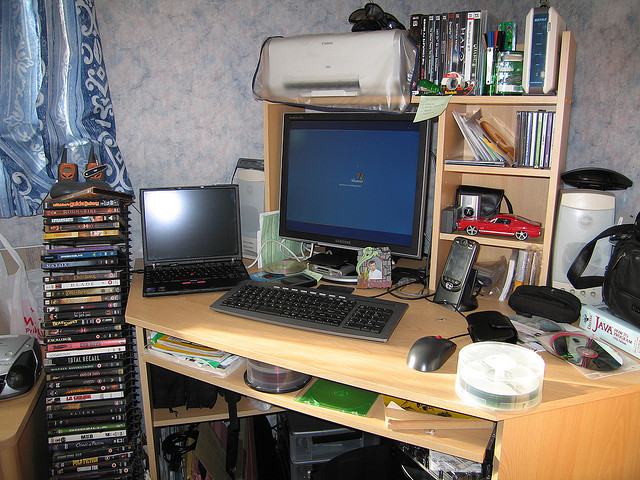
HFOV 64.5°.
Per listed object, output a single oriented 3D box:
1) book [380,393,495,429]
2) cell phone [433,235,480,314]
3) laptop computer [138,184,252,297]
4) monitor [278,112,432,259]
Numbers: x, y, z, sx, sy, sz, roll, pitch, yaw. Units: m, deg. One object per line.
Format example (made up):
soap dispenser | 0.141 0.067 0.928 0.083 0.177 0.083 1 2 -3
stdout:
book | 0.338 0.510 1.495 0.313 0.044 0.147 1 12 5
cell phone | 0.490 0.113 1.779 0.157 0.240 0.106 -11 15 -40
laptop computer | -0.481 -0.003 1.928 0.403 0.308 0.334 -3 21 -15
monitor | 0.145 -0.222 1.951 0.541 0.444 0.173 8 11 23
